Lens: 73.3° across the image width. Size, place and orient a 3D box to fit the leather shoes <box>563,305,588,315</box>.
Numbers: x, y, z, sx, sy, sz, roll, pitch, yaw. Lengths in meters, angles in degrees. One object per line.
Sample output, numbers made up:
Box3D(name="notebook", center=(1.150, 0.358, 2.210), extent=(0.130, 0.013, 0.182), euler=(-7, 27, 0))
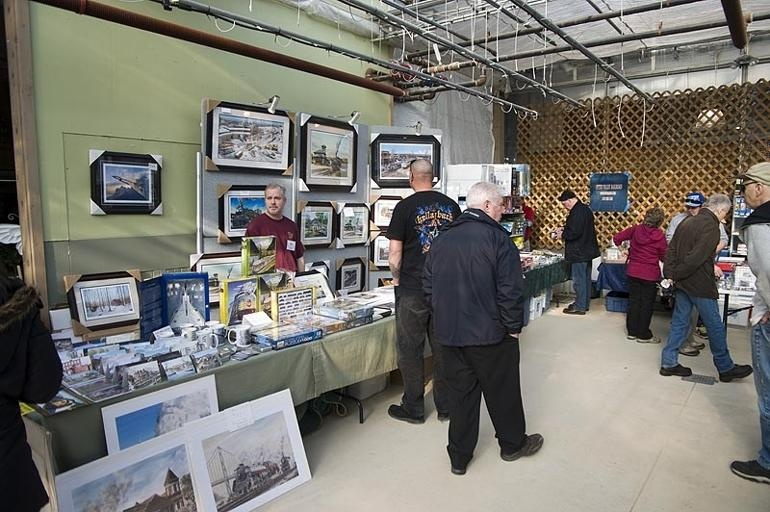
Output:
Box3D(name="leather shoes", center=(3.027, 0.811, 8.199), extent=(0.364, 0.157, 0.152), euler=(5, 5, 24))

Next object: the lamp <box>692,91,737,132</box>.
Box3D(name="lamp", center=(5.712, -2.547, 8.885), extent=(0.648, 0.717, 0.226), euler=(8, 15, 32))

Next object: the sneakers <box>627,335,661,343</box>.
Box3D(name="sneakers", center=(3.392, 1.076, 6.757), extent=(0.319, 0.118, 0.133), euler=(-1, 1, 13))

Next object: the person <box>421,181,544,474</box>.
Box3D(name="person", center=(0.767, 0.576, 4.073), extent=(0.879, 2.187, 0.471), euler=(-2, 12, -6))

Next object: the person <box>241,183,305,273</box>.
Box3D(name="person", center=(-1.082, -0.274, 5.080), extent=(0.535, 0.876, 0.212), euler=(-4, 13, -15))

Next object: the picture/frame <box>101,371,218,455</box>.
Box3D(name="picture/frame", center=(-1.521, 1.038, 3.417), extent=(0.556, 0.386, 0.014), euler=(-12, -1, -37))

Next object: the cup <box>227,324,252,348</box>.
Box3D(name="cup", center=(-1.105, 0.592, 3.903), extent=(0.192, 0.150, 0.116), euler=(-5, 10, -29))

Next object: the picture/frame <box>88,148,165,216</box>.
Box3D(name="picture/frame", center=(-2.603, -0.749, 5.131), extent=(0.695, 0.668, 0.087), euler=(-3, 4, -45))

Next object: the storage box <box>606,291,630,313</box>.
Box3D(name="storage box", center=(3.746, 0.716, 8.311), extent=(0.252, 0.186, 0.427), euler=(1, 1, 29))

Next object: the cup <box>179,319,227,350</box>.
Box3D(name="cup", center=(-1.346, 0.589, 3.844), extent=(0.264, 0.181, 0.160), euler=(2, 0, -24))

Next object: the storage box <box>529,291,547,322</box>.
Box3D(name="storage box", center=(2.340, 0.747, 7.861), extent=(0.150, 0.451, 0.341), euler=(3, 6, -9))

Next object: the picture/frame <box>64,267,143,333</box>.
Box3D(name="picture/frame", center=(-2.156, 0.349, 3.972), extent=(0.409, 0.382, 0.127), euler=(-9, -2, -35))

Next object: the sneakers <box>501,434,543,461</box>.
Box3D(name="sneakers", center=(1.132, 1.551, 4.308), extent=(0.368, 0.158, 0.154), euler=(-11, 15, -21))
